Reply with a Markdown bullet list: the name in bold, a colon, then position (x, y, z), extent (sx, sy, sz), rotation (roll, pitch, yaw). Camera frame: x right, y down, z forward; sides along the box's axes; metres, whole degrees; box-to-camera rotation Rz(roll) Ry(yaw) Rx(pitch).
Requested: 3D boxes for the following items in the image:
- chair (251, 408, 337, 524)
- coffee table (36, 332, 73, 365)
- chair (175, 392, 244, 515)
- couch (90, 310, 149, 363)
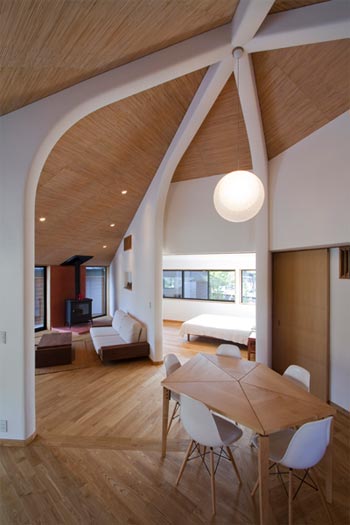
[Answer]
- **chair**: position (0.849, 1.376, 2.667), extent (0.514, 0.754, 0.625), rotation (1, 3, 7)
- **coffee table**: position (-1.909, 1.379, 5.861), extent (0.525, 0.309, 0.774), rotation (-1, 3, -18)
- **chair**: position (0.278, 1.340, 2.909), extent (0.495, 0.772, 0.710), rotation (1, 3, 10)
- **couch**: position (-0.947, 1.223, 6.227), extent (0.816, 0.595, 1.588), rotation (0, 3, -17)
